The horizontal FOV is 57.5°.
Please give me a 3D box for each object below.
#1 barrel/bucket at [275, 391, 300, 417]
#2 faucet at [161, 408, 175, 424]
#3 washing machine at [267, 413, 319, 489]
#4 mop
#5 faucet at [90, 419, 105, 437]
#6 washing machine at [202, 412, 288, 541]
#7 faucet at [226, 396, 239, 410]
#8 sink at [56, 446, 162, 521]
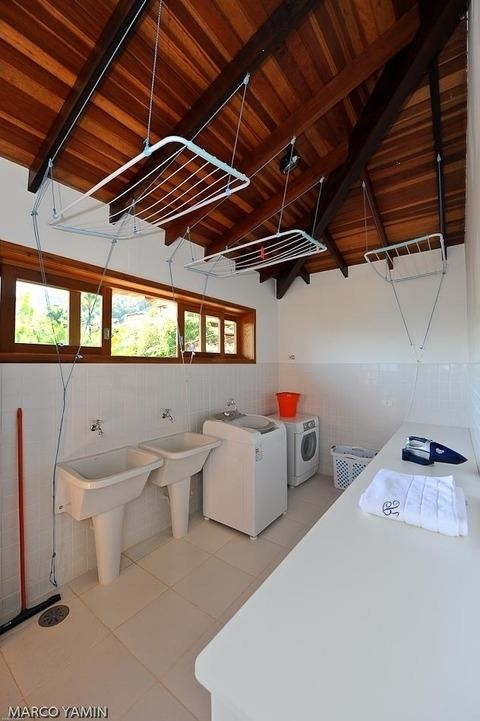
[{"bbox_3d":[0.446,0.402,3.946,0.200,0.196,0.190,-1,-6,0],"label":"barrel/bucket"},{"bbox_3d":[-0.481,0.374,2.890,0.026,0.115,0.126,4,10,22],"label":"faucet"},{"bbox_3d":[0.513,0.772,3.898,0.405,0.546,0.461,1,7,24],"label":"washing machine"},{"bbox_3d":[-1.018,0.716,2.000,0.158,0.956,0.310,6,10,36],"label":"mop"},{"bbox_3d":[-0.789,0.376,2.393,0.034,0.093,0.092,6,11,35],"label":"faucet"},{"bbox_3d":[0.043,0.757,3.039,0.408,0.730,0.452,4,7,32],"label":"washing machine"},{"bbox_3d":[-0.047,0.352,3.554,0.072,0.150,0.084,6,-18,-33],"label":"faucet"},{"bbox_3d":[-0.675,0.648,2.259,0.353,0.290,0.464,9,9,43],"label":"sink"}]
